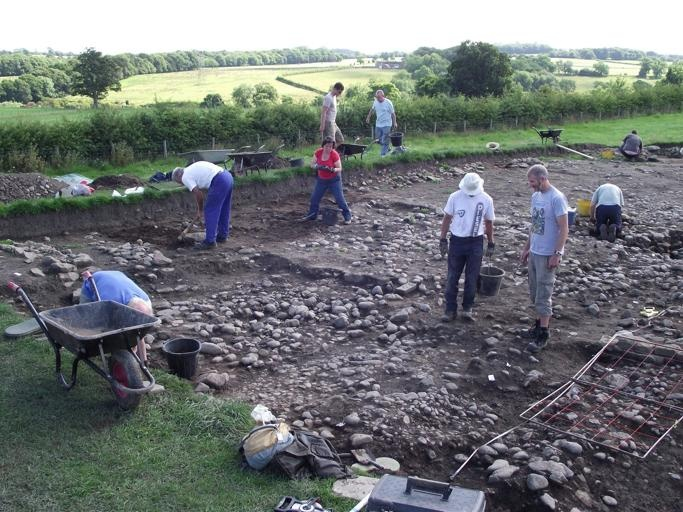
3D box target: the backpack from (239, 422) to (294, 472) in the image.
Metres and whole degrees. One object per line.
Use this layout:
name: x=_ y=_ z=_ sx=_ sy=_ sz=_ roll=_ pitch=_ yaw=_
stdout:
backpack: x=-0.999 y=2.477 z=8.438 sx=0.661 sy=0.258 sz=0.497 roll=-20 pitch=65 yaw=-11

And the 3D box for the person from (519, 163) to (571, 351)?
person: x=3.369 y=-0.015 z=10.565 sx=0.707 sy=2.932 sz=1.079 roll=5 pitch=18 yaw=15

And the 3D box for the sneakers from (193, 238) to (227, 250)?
sneakers: x=-2.929 y=-0.293 z=14.078 sx=0.664 sy=0.272 sz=0.243 roll=4 pitch=9 yaw=17

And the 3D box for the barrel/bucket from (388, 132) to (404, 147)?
barrel/bucket: x=2.014 y=-4.250 z=22.791 sx=0.569 sy=0.424 sz=0.556 roll=-2 pitch=27 yaw=1

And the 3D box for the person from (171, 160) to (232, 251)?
person: x=-2.926 y=-1.121 z=13.791 sx=1.113 sy=1.834 sz=0.692 roll=-10 pitch=20 yaw=-29

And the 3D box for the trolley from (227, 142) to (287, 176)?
trolley: x=-2.437 y=-2.912 z=19.702 sx=1.174 sy=1.121 sz=2.356 roll=5 pitch=9 yaw=36

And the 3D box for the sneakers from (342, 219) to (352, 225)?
sneakers: x=0.149 y=-0.891 z=15.864 sx=0.144 sy=0.135 sz=0.334 roll=0 pitch=3 yaw=6

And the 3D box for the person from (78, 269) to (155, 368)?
person: x=-3.385 y=0.707 z=9.453 sx=0.749 sy=0.755 sz=1.857 roll=-7 pitch=25 yaw=-45

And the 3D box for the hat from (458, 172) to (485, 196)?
hat: x=2.270 y=-1.307 z=11.023 sx=0.400 sy=0.216 sz=0.525 roll=2 pitch=31 yaw=8

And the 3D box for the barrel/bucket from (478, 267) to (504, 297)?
barrel/bucket: x=2.850 y=0.468 z=12.343 sx=0.565 sy=0.417 sz=0.562 roll=3 pitch=26 yaw=-2

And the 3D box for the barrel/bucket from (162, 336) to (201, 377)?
barrel/bucket: x=-2.532 y=1.581 z=9.950 sx=0.568 sy=0.442 sz=0.570 roll=5 pitch=16 yaw=-1

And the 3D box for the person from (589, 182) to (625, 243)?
person: x=6.389 y=-1.079 z=15.103 sx=0.651 sy=1.209 sz=0.864 roll=1 pitch=17 yaw=5

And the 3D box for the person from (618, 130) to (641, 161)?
person: x=11.651 y=-4.510 z=25.326 sx=0.783 sy=1.172 sz=0.942 roll=7 pitch=19 yaw=22

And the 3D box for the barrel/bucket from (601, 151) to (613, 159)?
barrel/bucket: x=11.064 y=-4.254 z=26.314 sx=0.378 sy=0.263 sz=0.355 roll=6 pitch=32 yaw=-4

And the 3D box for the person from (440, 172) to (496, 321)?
person: x=2.211 y=-0.177 z=11.156 sx=0.901 sy=2.588 sz=0.487 roll=3 pitch=18 yaw=9

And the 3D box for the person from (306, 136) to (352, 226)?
person: x=-0.316 y=-1.877 z=15.504 sx=1.113 sy=2.152 sz=0.758 roll=-2 pitch=18 yaw=-4

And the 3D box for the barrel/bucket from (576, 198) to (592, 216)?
barrel/bucket: x=6.357 y=-1.310 z=16.611 sx=0.427 sy=0.312 sz=0.417 roll=-1 pitch=3 yaw=0

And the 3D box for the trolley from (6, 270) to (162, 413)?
trolley: x=-3.780 y=1.294 z=9.319 sx=2.535 sy=1.130 sz=1.399 roll=24 pitch=26 yaw=39

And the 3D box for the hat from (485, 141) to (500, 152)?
hat: x=6.133 y=-4.400 z=25.462 sx=0.584 sy=0.242 sz=0.601 roll=-3 pitch=36 yaw=5

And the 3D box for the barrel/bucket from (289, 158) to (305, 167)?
barrel/bucket: x=-1.401 y=-2.964 z=19.954 sx=0.448 sy=0.221 sz=0.812 roll=-2 pitch=16 yaw=-5

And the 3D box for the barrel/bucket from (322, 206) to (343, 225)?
barrel/bucket: x=-0.230 y=-1.053 z=15.895 sx=0.467 sy=0.432 sz=0.453 roll=2 pitch=4 yaw=0

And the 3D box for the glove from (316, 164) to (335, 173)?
glove: x=-0.371 y=-2.108 z=15.103 sx=0.449 sy=0.185 sz=0.159 roll=1 pitch=17 yaw=2
